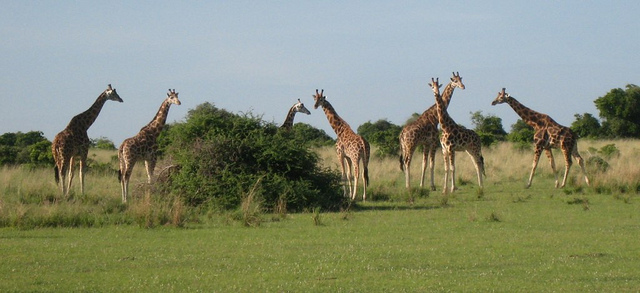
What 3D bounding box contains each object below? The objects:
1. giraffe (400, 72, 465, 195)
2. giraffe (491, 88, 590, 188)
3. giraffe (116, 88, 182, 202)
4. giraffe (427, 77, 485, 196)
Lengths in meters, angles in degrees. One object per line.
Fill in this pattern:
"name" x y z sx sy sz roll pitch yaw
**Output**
"giraffe" 6.476 -0.575 53.569 5.326 9.377 4.704 1 -1 -6
"giraffe" 13.711 -0.352 51.146 2.814 5.271 4.685 -4 10 -27
"giraffe" -9.144 0.748 46.559 4.110 6.147 8.212 1 0 -22
"giraffe" 7.834 0.209 50.136 3.719 6.884 7.469 2 1 14
